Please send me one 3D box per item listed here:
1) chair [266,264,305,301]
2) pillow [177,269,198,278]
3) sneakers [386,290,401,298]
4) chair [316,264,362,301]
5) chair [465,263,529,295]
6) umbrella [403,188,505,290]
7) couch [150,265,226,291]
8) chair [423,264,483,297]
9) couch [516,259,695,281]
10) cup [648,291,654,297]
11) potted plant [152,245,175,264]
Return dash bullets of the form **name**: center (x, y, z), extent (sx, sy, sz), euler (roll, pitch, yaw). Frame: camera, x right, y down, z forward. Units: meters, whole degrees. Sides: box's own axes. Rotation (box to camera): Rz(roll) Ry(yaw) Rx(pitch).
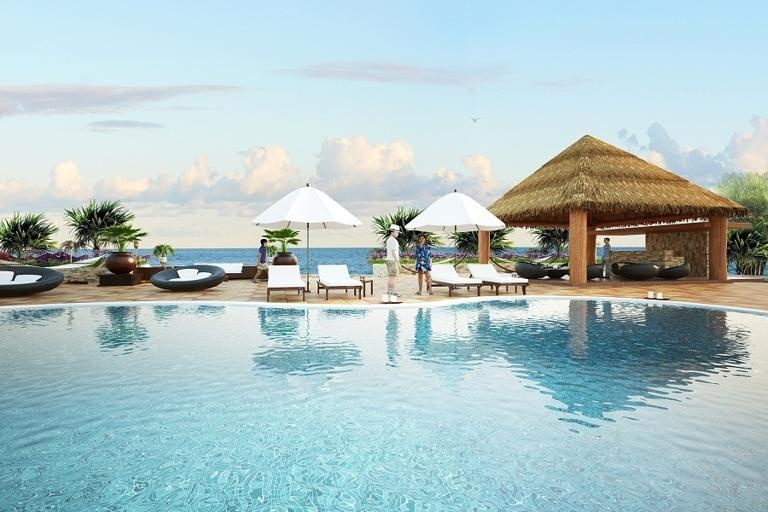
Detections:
- **chair**: center (-2.781, 0.685, 15.808), extent (0.913, 0.645, 1.350), euler (0, -2, -9)
- **pillow**: center (-6.168, 0.581, 17.595), extent (0.416, 0.115, 0.336), euler (3, 20, -3)
- **sneakers**: center (0.265, 1.115, 16.739), extent (0.182, 0.163, 0.474), euler (2, -8, -31)
- **chair**: center (-1.345, 0.760, 16.249), extent (1.042, 0.695, 1.511), euler (-1, 4, -16)
- **chair**: center (3.429, 0.733, 17.184), extent (1.046, 0.562, 1.669), euler (-1, 3, -25)
- **umbrella**: center (2.720, -0.431, 19.557), extent (4.315, 2.573, 3.569), euler (0, 1, 0)
- **couch**: center (-5.920, 0.707, 17.318), extent (1.867, 0.624, 1.695), euler (-1, 1, 4)
- **chair**: center (1.958, 0.694, 17.122), extent (0.857, 0.514, 1.619), euler (-1, 2, -18)
- **couch**: center (8.336, 0.580, 21.262), extent (6.112, 0.698, 1.890), euler (-1, 1, 11)
- **cup**: center (7.430, 1.069, 15.676), extent (0.191, 0.132, 0.123), euler (-1, 0, -26)
- **potted plant**: center (-8.726, 0.013, 22.094), extent (0.662, 0.655, 1.205), euler (-2, 1, -35)
